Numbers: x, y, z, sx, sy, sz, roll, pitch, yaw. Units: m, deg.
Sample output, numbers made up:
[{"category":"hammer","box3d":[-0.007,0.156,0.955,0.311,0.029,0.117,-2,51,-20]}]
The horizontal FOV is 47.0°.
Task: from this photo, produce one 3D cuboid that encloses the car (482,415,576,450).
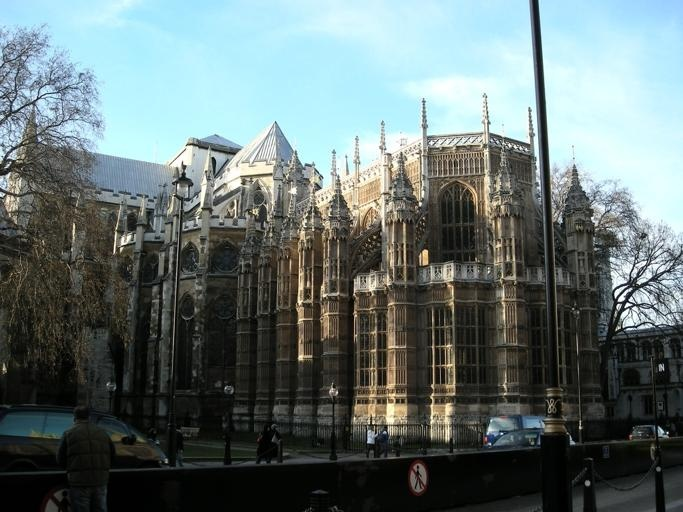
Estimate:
[{"category":"car","box3d":[5.967,5.996,27.268,2.041,1.154,5.525,-3,-13,13]}]
